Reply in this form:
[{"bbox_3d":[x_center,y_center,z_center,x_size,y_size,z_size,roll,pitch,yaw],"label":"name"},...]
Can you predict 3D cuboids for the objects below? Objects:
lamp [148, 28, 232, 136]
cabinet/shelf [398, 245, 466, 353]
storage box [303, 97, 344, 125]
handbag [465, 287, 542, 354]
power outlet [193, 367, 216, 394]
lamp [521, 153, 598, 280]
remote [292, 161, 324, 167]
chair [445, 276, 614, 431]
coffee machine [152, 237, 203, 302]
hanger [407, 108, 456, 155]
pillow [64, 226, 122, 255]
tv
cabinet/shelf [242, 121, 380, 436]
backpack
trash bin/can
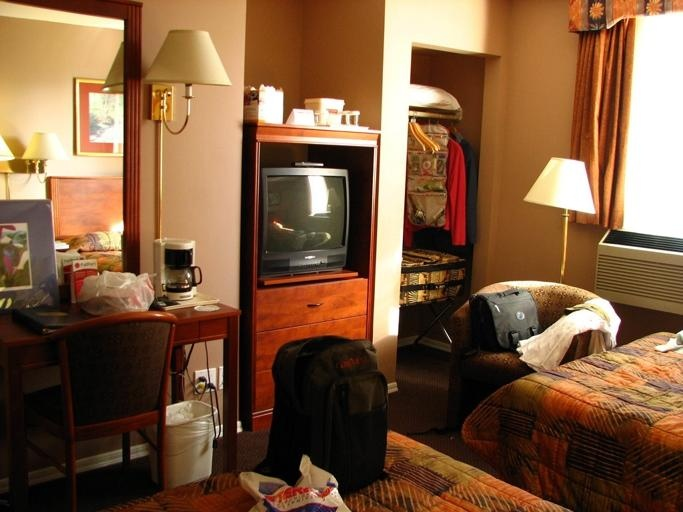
[{"bbox_3d":[-0.800,-0.921,3.029,0.471,0.567,0.476,-5,11,-40],"label":"lamp"},{"bbox_3d":[0.862,0.444,4.868,0.504,0.725,0.691,-6,-4,9],"label":"cabinet/shelf"},{"bbox_3d":[-0.115,-0.983,3.728,0.241,0.193,0.171,-6,14,-32],"label":"storage box"},{"bbox_3d":[1.146,0.423,3.682,0.402,0.387,0.314,-5,-5,-22],"label":"handbag"},{"bbox_3d":[-0.863,0.779,3.388,0.165,0.153,0.017,-2,4,-36],"label":"power outlet"},{"bbox_3d":[1.659,-0.230,3.999,0.413,0.963,0.604,7,12,42],"label":"lamp"},{"bbox_3d":[-0.236,-0.640,3.803,0.118,0.031,0.109,-6,9,-40],"label":"remote"},{"bbox_3d":[1.264,0.710,3.628,0.845,0.893,0.890,-11,11,-34],"label":"chair"},{"bbox_3d":[-0.916,0.073,3.021,0.251,0.321,0.223,6,12,13],"label":"coffee machine"},{"bbox_3d":[0.744,-0.997,4.463,0.096,0.309,0.296,-24,22,-15],"label":"hanger"},{"bbox_3d":[-1.334,-0.065,2.914,0.275,0.097,0.093,-2,10,-41],"label":"pillow"},{"bbox_3d":[-0.272,-0.234,3.632,0.615,0.707,0.362,-6,12,-35],"label":"tv"},{"bbox_3d":[-0.247,0.090,3.903,0.992,1.911,0.563,-2,12,-24],"label":"cabinet/shelf"},{"bbox_3d":[-0.065,0.612,2.117,0.403,0.568,0.503,-1,0,-30],"label":"backpack"},{"bbox_3d":[-0.879,1.088,3.046,0.310,0.388,0.344,-2,-1,21],"label":"trash bin/can"}]
